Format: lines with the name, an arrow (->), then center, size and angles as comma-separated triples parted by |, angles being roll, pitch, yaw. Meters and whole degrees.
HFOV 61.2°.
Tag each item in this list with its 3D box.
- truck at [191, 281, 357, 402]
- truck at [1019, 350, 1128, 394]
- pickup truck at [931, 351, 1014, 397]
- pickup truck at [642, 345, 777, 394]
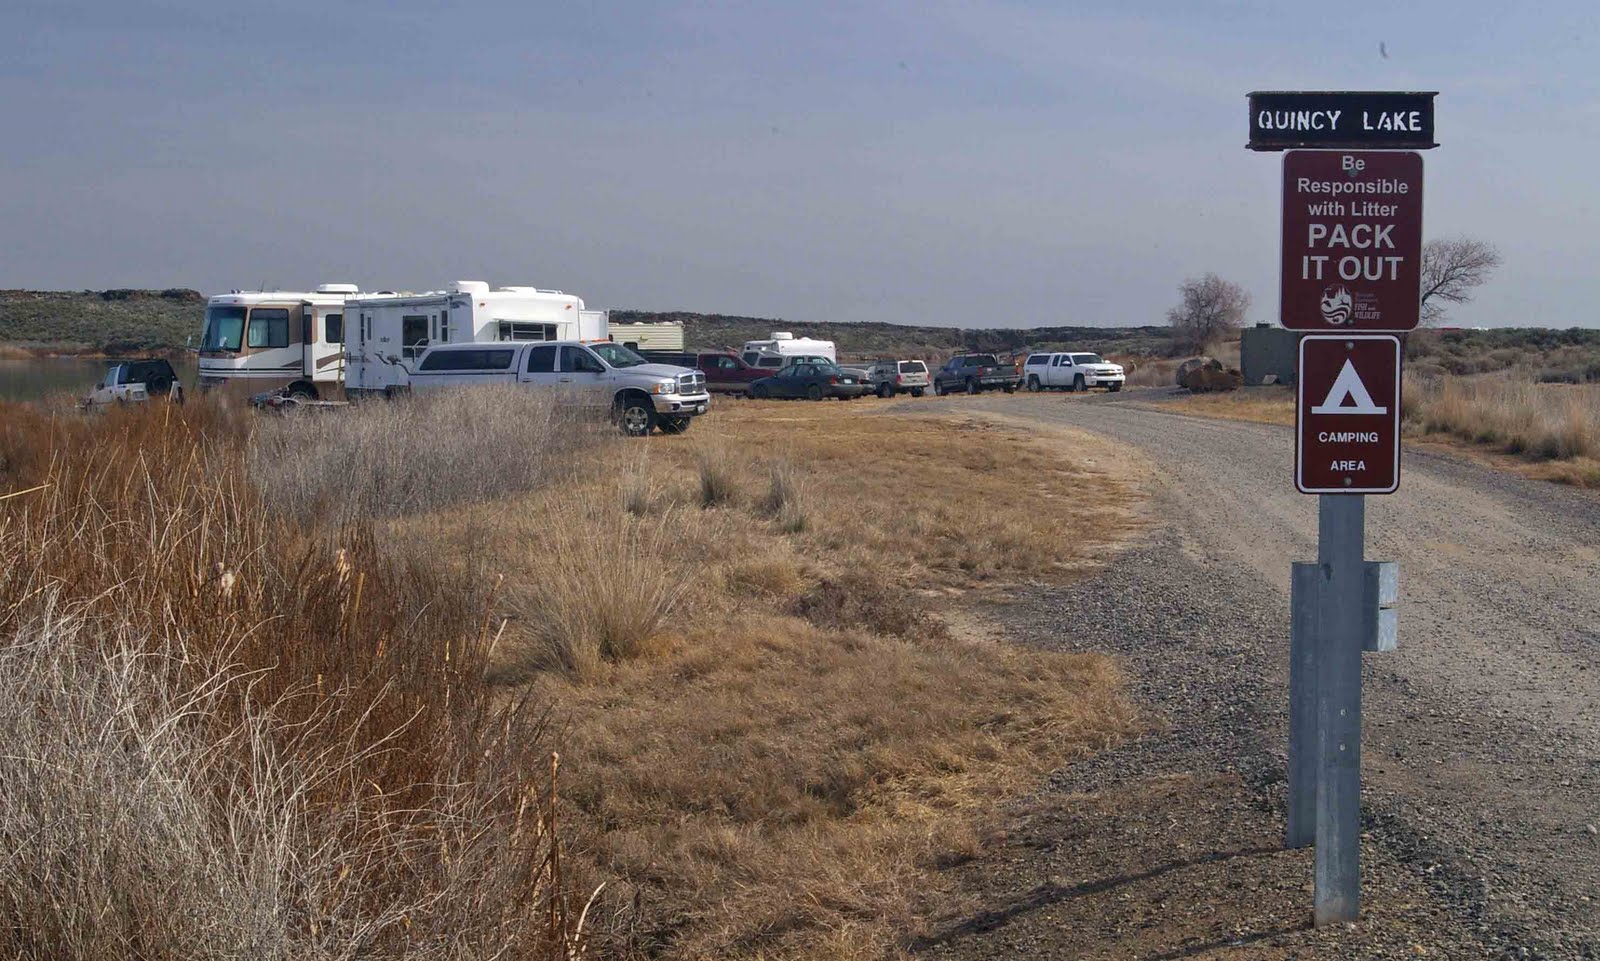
truck -> -11.332, -2.961, 29.058 | 2.783, 2.101, 1.130 | 2, 13, -23
truck -> 9.974, -4.094, 50.196 | 3.035, 1.228, 1.725 | 0, 3, 44
pickup truck -> 5.948, -3.937, 49.455 | 1.514, 1.118, 2.490 | -4, 9, -24
pickup truck -> -3.018, -3.679, 45.096 | 3.607, 1.382, 1.963 | -1, 8, -1
